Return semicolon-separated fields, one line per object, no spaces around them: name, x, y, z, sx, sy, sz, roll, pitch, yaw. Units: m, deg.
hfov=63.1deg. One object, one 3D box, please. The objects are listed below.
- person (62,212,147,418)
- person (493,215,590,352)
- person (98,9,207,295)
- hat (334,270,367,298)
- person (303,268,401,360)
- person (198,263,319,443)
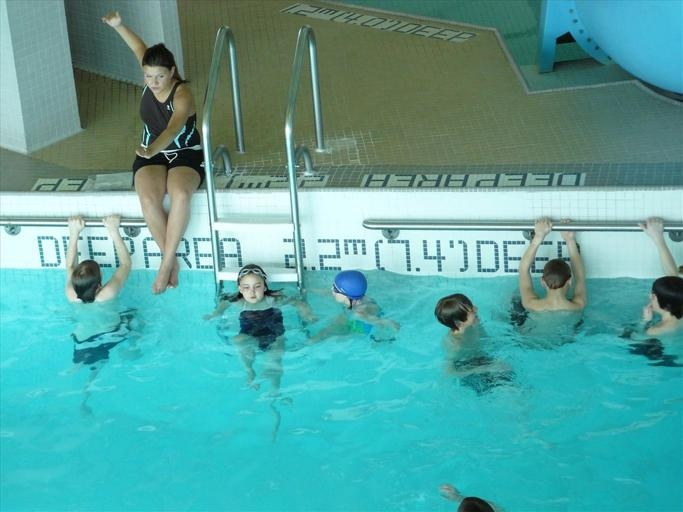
person;-1.715;0.419;4.366;0.544;1.529;0.765;-1;-38;-7
person;1.450;0.196;3.956;0.574;1.166;0.725;-4;40;4
person;-1.319;-0.662;4.268;0.540;1.867;0.675;-3;4;-20
hat;0.071;0.223;4.034;0.231;0.169;0.173;25;-16;-15
person;0.024;0.380;4.080;0.859;0.491;0.521;-2;10;17
person;-0.589;0.617;3.772;0.653;0.964;0.323;-1;-27;-4
